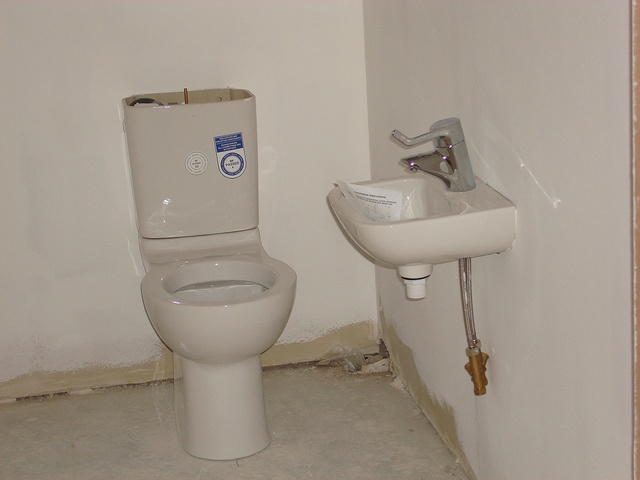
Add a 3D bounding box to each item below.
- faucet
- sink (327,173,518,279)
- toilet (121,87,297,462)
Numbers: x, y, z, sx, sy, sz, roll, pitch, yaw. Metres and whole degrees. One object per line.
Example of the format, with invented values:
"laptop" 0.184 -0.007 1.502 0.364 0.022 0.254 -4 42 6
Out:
"faucet" 0.270 -0.187 1.413 0.220 0.166 0.071 -11 26 -15
"sink" 0.224 -0.032 1.452 0.363 0.191 0.322 -7 22 -13
"toilet" -0.343 0.079 1.947 0.441 1.036 0.725 -7 22 -15
